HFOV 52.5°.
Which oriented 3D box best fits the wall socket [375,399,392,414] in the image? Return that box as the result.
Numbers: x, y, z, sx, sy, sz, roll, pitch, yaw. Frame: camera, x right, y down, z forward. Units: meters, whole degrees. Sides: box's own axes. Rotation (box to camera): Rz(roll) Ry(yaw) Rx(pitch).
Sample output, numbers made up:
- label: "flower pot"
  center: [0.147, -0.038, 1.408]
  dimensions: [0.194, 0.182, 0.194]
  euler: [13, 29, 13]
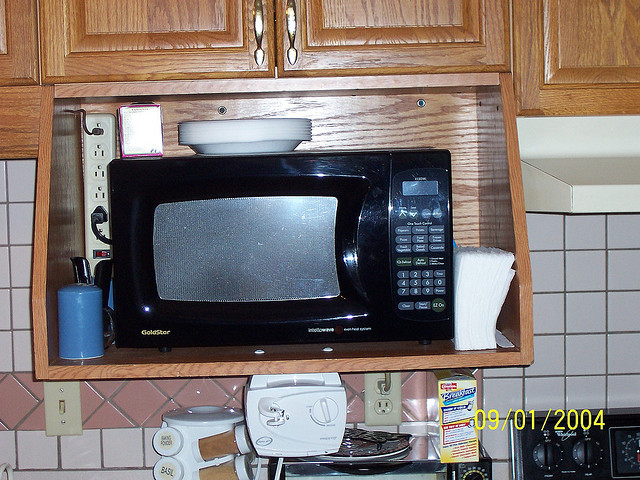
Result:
- label: "wall socket"
  center: [0.161, 0.421, 1.648]
  dimensions: [0.044, 0.035, 0.006]
  euler: [-1, 4, 3]

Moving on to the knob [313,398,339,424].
- label: "knob"
  center: [0.011, 0.364, 1.389]
  dimensions: [0.052, 0.044, 0.012]
  euler: [-3, -1, -2]

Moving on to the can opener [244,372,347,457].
- label: "can opener"
  center: [-0.052, 0.392, 1.433]
  dimensions: [0.216, 0.148, 0.106]
  euler: [-3, -1, 0]

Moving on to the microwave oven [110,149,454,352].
- label: "microwave oven"
  center: [-0.056, 0.010, 1.342]
  dimensions: [0.855, 0.436, 0.422]
  euler: [-1, -7, 1]
